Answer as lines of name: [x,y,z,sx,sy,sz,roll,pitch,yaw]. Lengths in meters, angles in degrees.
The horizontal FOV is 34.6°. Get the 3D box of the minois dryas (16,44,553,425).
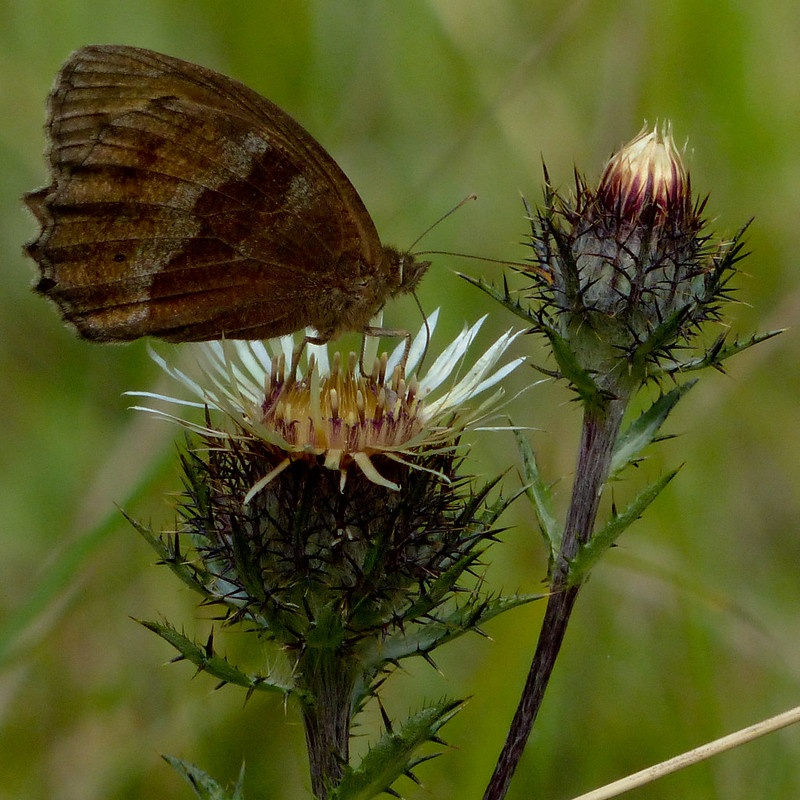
minois dryas: [-0.597,-1.004,5.476,1.933,0.964,1.571,3,-42,-24]

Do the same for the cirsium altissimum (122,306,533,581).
cirsium altissimum: [-0.189,0.128,4.899,0.945,0.983,0.460,-1,-85,-15]
